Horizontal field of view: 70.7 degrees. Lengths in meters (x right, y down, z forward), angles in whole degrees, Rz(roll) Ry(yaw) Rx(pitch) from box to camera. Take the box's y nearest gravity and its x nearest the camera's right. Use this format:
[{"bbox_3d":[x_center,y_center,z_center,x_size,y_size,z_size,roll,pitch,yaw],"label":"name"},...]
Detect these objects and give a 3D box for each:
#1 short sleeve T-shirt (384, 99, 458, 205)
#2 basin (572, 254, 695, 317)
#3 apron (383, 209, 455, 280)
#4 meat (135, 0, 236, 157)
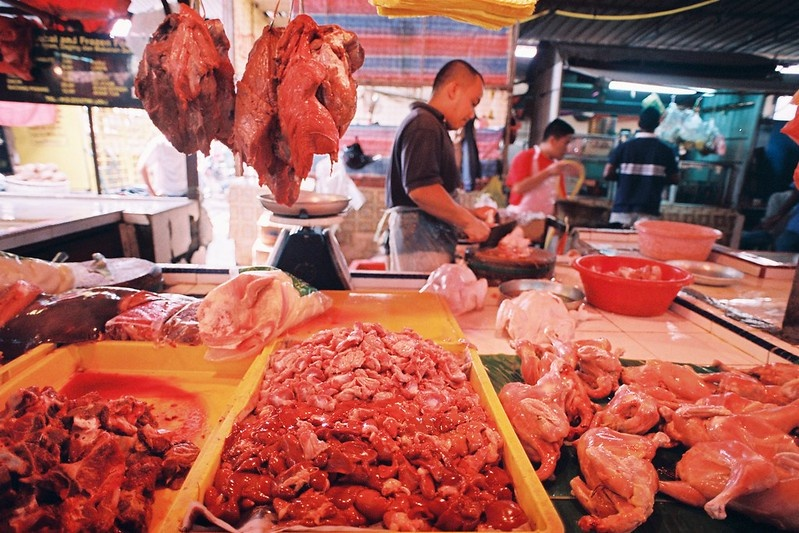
[{"bbox_3d":[0.183,-0.827,4.350,0.541,0.844,0.488,3,17,-1],"label":"short sleeve T-shirt"},{"bbox_3d":[1.512,0.122,3.707,0.528,0.206,0.510,-4,9,1],"label":"basin"},{"bbox_3d":[0.133,-0.198,4.776,0.549,0.567,0.539,1,8,-17],"label":"apron"},{"bbox_3d":[-1.139,-0.973,3.153,0.625,0.776,0.283,4,9,9],"label":"meat"}]
